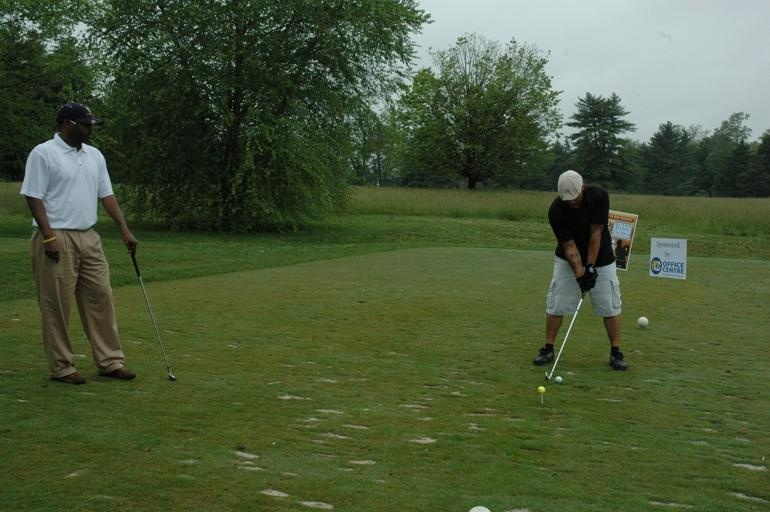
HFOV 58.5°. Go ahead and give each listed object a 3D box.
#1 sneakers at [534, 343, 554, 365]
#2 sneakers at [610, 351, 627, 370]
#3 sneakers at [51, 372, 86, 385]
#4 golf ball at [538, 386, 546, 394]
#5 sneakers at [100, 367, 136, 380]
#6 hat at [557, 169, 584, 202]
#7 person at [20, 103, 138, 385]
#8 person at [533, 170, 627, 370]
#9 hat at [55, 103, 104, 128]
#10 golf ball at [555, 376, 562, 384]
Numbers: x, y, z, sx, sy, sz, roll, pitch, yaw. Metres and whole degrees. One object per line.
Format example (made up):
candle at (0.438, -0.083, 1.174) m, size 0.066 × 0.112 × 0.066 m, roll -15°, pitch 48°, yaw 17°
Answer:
sneakers at (2.067, 1.253, 8.700) m, size 0.200 × 0.220 × 0.513 m, roll 8°, pitch 14°, yaw 26°
sneakers at (2.939, 1.296, 8.453) m, size 0.206 × 0.189 × 0.260 m, roll 4°, pitch 14°, yaw 12°
sneakers at (-3.555, 1.357, 7.581) m, size 0.416 × 0.139 × 0.136 m, roll 0°, pitch -2°, yaw 0°
golf ball at (1.763, 1.483, 7.554) m, size 0.102 × 0.065 × 0.072 m, roll 24°, pitch -8°, yaw -32°
sneakers at (-3.030, 1.327, 7.773) m, size 0.429 × 0.144 × 0.141 m, roll -1°, pitch 4°, yaw 3°
hat at (2.344, -0.863, 8.472) m, size 0.304 × 0.346 × 0.358 m, roll 5°, pitch 14°, yaw 15°
person at (-3.464, -0.150, 7.648) m, size 0.998 × 3.005 × 1.106 m, roll -5°, pitch 16°, yaw -25°
person at (2.589, 0.166, 8.674) m, size 1.039 × 2.431 × 0.896 m, roll 5°, pitch 15°, yaw 12°
hat at (-3.486, -1.588, 7.787) m, size 0.540 × 0.223 × 0.311 m, roll -4°, pitch 12°, yaw -21°
golf ball at (2.068, 1.449, 7.988) m, size 0.065 × 0.060 × 0.078 m, roll 4°, pitch 5°, yaw 13°
